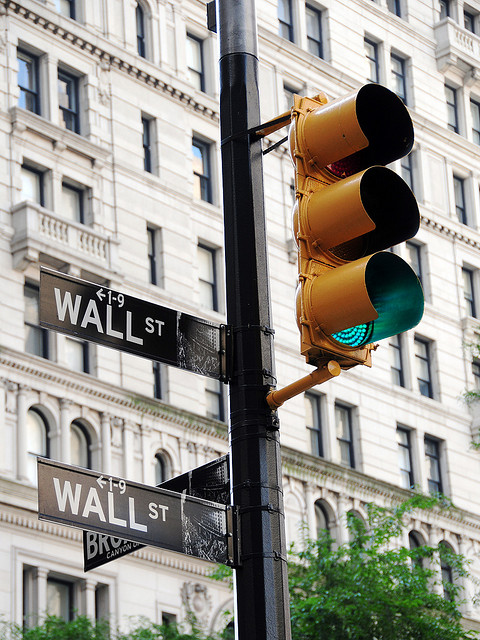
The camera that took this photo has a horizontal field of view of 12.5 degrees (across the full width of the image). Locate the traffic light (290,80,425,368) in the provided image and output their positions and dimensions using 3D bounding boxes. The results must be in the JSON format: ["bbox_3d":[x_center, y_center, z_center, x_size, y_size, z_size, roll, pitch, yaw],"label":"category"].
[{"bbox_3d":[1.112,-1.004,21.433,1.256,2.769,1.023,12,-25,-39],"label":"traffic light"}]

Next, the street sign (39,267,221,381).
[{"bbox_3d":[-1.116,0.023,21.878,2.028,0.717,0.031,17,-40,-20],"label":"street sign"}]
